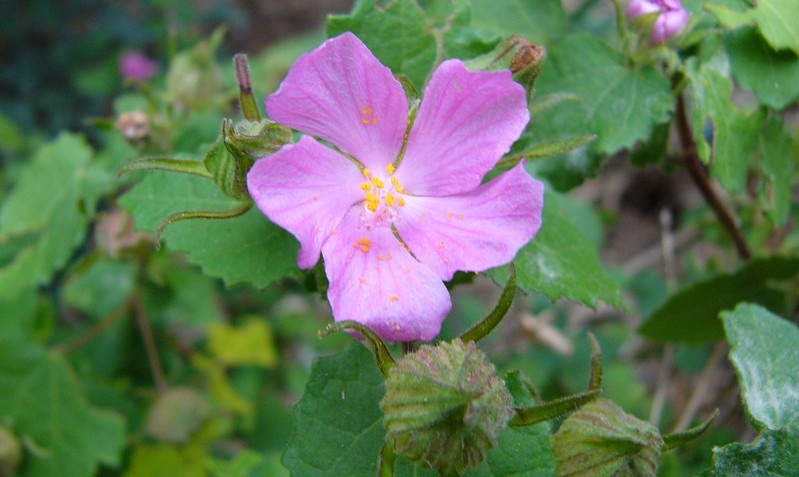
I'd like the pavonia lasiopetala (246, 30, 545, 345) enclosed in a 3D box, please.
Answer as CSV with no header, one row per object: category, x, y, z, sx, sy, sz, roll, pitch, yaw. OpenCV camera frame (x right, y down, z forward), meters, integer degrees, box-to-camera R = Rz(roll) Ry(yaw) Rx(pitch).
pavonia lasiopetala,-0.008,-0.218,3.042,1.159,0.279,1.167,21,87,1
